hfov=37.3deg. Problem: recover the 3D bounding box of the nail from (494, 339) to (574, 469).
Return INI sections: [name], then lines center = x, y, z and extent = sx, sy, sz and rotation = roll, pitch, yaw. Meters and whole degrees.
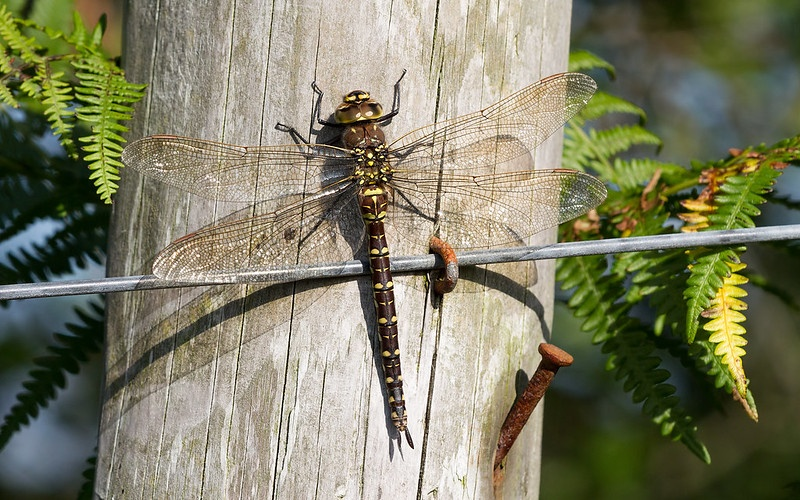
[nail]
center = 0.684, 0.810, 6.411
extent = 0.200, 0.395, 0.691
rotation = 19, -59, -13
